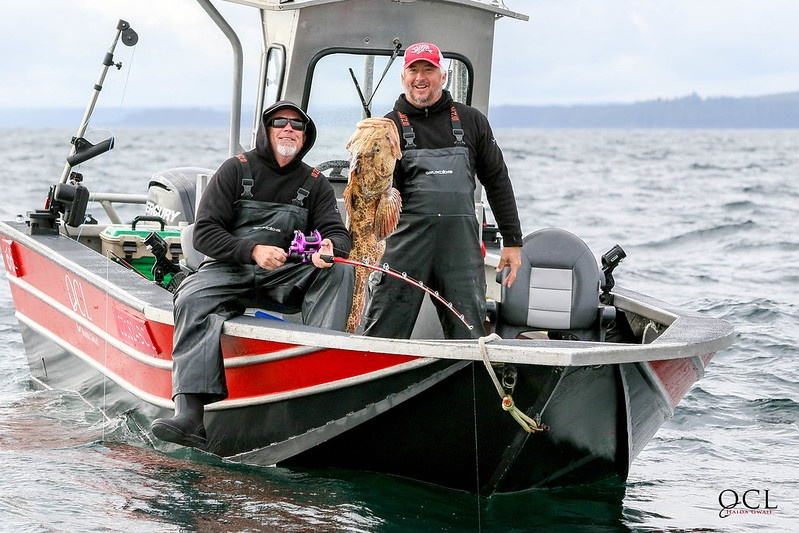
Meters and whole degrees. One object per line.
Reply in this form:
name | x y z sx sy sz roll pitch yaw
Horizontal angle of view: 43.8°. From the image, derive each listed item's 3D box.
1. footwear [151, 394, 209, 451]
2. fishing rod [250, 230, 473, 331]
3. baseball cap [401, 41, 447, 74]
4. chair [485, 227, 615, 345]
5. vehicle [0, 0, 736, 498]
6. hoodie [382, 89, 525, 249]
footwear | -1.433 0.973 6.422 0.195 0.335 0.395 -23 -34 32
fishing rod | -0.302 0.075 6.803 1.545 0.255 0.356 13 46 -17
baseball cap | 0.170 -1.470 6.958 0.229 0.142 0.291 0 9 8
chair | 1.121 0.176 7.954 1.167 0.875 0.880 5 9 2
vehicle | -0.924 -0.187 8.546 3.045 2.855 6.974 -2 9 -39
hoodie | 0.472 -0.686 7.048 0.988 1.065 0.361 -8 6 -1
